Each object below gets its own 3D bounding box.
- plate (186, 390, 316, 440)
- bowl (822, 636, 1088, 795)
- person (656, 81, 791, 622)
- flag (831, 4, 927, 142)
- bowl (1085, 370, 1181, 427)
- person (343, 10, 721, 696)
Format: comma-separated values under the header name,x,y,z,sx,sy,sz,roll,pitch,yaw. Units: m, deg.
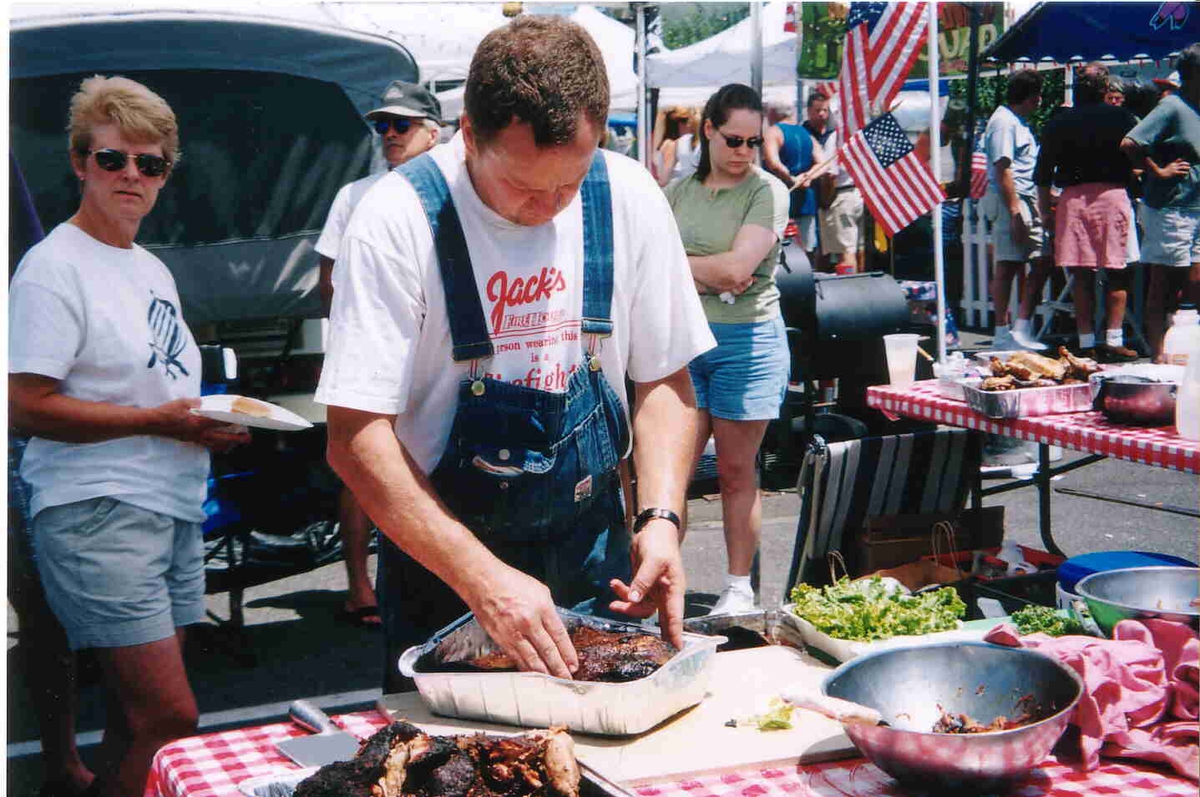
name,x,y,z,sx,sy,sz,roll,pitch,yaw
plate,-1.457,0.069,5.326,0.380,0.182,0.469,-3,14,-1
bowl,1.045,0.938,3.750,0.720,0.338,0.401,-3,6,-13
person,0.653,-0.219,6.709,0.819,2.780,0.757,-3,9,-18
flag,1.788,-2.159,8.148,0.464,0.942,0.787,-5,6,-27
bowl,2.307,0.000,5.464,0.329,0.210,0.234,0,6,22
person,-0.239,-0.179,4.138,0.930,2.427,0.888,-4,4,-41
